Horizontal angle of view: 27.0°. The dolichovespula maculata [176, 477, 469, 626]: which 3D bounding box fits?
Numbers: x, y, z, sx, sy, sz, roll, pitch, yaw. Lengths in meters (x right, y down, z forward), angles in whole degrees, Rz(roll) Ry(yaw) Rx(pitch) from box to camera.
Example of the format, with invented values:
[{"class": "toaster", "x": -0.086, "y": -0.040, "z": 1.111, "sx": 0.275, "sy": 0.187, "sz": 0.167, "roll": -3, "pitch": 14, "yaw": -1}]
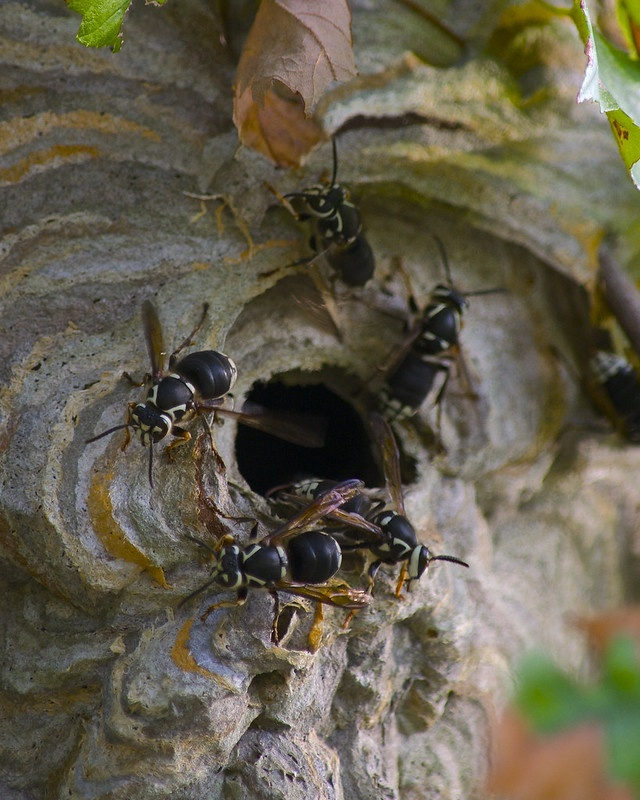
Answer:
[{"class": "dolichovespula maculata", "x": -0.006, "y": 0.304, "z": 2.760, "sx": 0.466, "sy": 0.111, "sz": 0.277, "roll": -14, "pitch": 61, "yaw": -31}]
